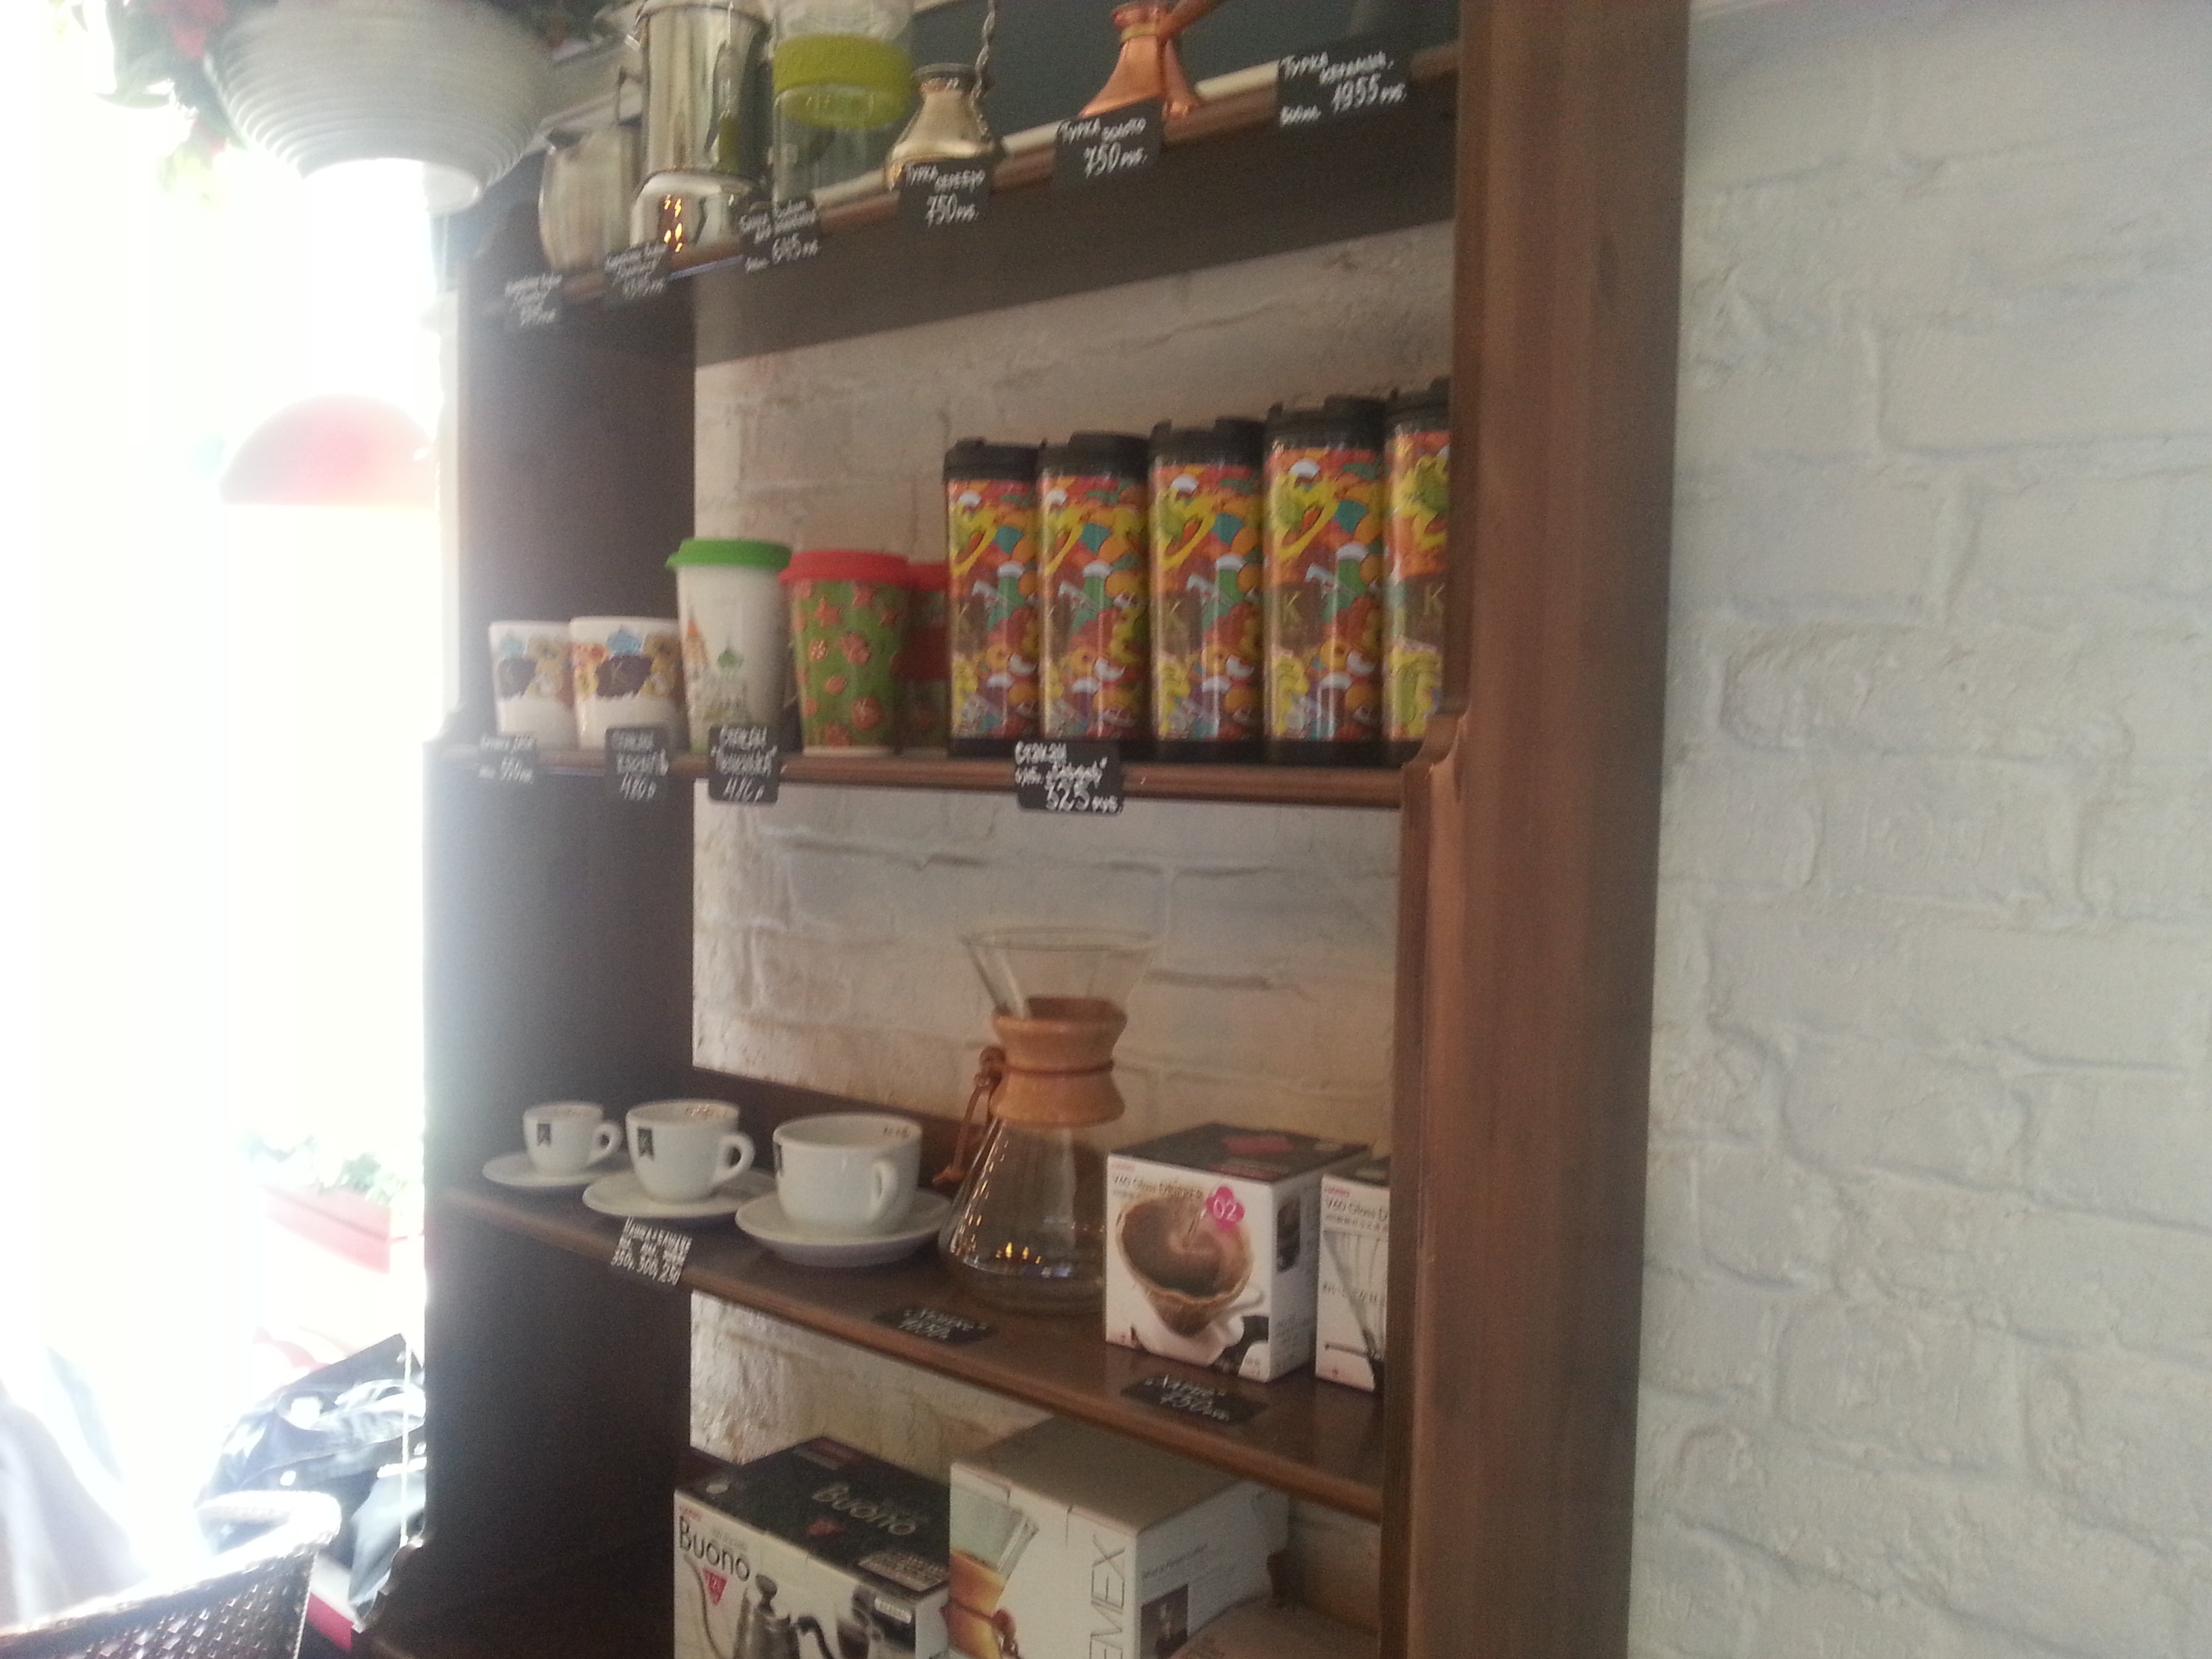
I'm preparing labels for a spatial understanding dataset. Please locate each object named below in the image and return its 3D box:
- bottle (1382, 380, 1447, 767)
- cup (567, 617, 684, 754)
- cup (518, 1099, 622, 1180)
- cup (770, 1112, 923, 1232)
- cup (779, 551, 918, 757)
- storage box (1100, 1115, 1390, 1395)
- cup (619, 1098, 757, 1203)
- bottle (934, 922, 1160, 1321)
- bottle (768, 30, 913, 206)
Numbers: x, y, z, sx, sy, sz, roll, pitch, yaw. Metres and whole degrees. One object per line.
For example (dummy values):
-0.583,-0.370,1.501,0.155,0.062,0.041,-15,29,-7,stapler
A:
0.261,-0.216,1.447,0.030,0.305,0.077,-2,3,-27,bottle
-0.524,-0.163,1.994,0.135,0.147,0.132,0,0,0,cup
-0.631,0.373,2.047,0.094,0.065,0.076,3,-2,-7,cup
-0.280,0.351,1.840,0.102,0.085,0.130,-4,12,-26,cup
-0.272,-0.177,1.798,0.141,0.207,0.108,0,3,4,cup
0.127,0.380,1.605,0.201,0.181,0.199,1,1,43,storage box
-0.467,0.352,1.962,0.120,0.081,0.098,12,14,42,cup
-0.063,0.286,1.800,0.205,0.364,0.301,0,3,2,bottle
-0.279,-0.750,1.817,0.157,0.191,0.090,-1,3,-2,bottle
